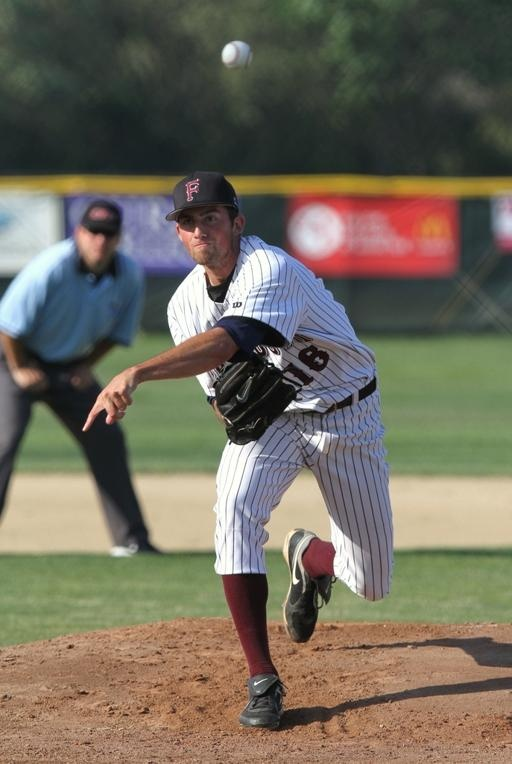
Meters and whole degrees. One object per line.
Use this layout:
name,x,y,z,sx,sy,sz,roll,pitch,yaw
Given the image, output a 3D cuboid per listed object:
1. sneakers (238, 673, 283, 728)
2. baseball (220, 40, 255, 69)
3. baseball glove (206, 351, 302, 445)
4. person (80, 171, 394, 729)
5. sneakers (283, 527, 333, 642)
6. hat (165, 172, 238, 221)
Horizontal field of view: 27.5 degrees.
sneakers,0.006,0.825,2.675,0.077,0.072,0.175,-1,-3,3
baseball,-0.085,-1.405,4.537,0.164,0.109,0.163,5,48,1
baseball glove,0.034,0.035,2.901,0.237,0.242,0.102,-50,-3,24
person,-0.007,0.155,2.929,0.481,1.464,1.062,3,6,34
sneakers,0.155,0.666,3.385,0.185,0.378,0.143,-9,-8,41
hat,-0.146,-0.500,2.857,0.124,0.084,0.169,-4,0,35
